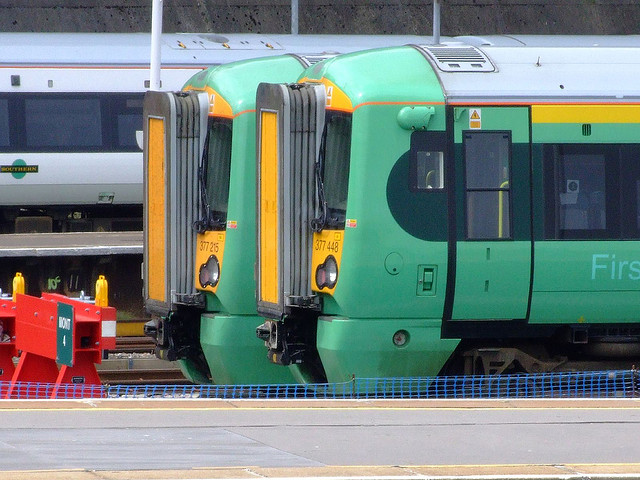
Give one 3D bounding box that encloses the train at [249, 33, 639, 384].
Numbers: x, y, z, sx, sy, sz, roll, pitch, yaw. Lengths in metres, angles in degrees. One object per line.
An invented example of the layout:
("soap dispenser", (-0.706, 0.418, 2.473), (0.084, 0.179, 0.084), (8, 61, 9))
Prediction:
("train", (1.649, -0.152, 24.498), (4.906, 4.660, 1.520), (-1, 14, -6))
